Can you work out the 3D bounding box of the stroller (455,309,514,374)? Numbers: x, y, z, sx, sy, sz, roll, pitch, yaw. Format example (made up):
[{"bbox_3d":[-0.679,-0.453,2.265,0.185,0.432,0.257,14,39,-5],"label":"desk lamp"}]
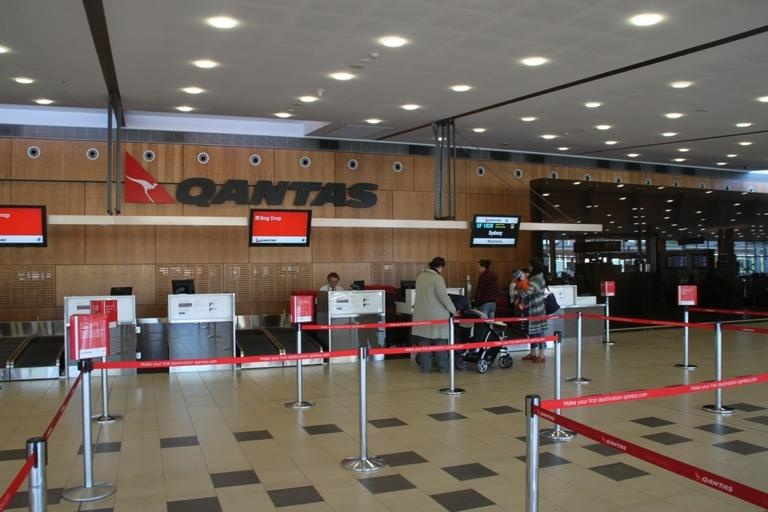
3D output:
[{"bbox_3d":[1.736,1.468,9.517,0.960,1.000,1.600,-2,0,10],"label":"stroller"}]

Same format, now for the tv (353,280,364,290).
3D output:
[{"bbox_3d":[-0.542,0.623,11.699,0.183,0.187,0.189,-1,-7,12],"label":"tv"}]

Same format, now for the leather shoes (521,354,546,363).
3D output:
[{"bbox_3d":[2.882,1.953,10.417,0.433,0.135,0.151,0,-3,31],"label":"leather shoes"}]

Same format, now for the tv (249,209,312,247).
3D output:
[{"bbox_3d":[-2.073,-0.543,10.726,0.127,0.744,1.495,7,6,40],"label":"tv"}]

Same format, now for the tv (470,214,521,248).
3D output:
[{"bbox_3d":[2.443,-0.555,11.898,1.525,0.699,0.119,-2,11,-37],"label":"tv"}]

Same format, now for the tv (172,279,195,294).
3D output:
[{"bbox_3d":[-3.926,0.580,10.729,0.640,0.243,0.488,-1,4,-9],"label":"tv"}]
